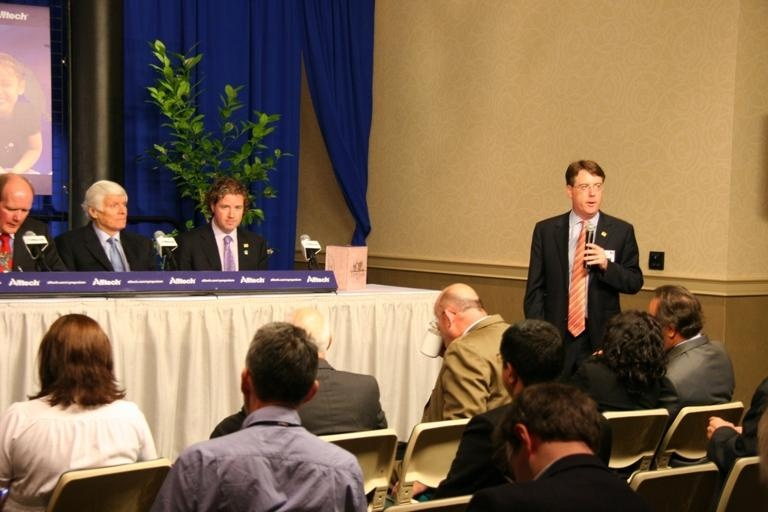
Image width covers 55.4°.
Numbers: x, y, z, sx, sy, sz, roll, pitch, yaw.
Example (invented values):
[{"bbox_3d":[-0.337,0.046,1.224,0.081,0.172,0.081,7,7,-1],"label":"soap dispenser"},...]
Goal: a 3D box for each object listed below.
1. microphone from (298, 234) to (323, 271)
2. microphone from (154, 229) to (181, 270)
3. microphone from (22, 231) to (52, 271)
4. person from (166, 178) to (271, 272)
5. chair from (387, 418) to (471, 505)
[{"bbox_3d":[-0.650,-0.048,6.563,0.147,0.184,0.619,4,26,-16],"label":"microphone"},{"bbox_3d":[-1.513,-0.035,5.114,0.159,0.274,0.658,-1,3,-17],"label":"microphone"},{"bbox_3d":[-2.192,-0.027,4.661,0.141,0.255,0.478,-2,4,-24],"label":"microphone"},{"bbox_3d":[-1.362,-0.254,5.851,0.907,1.007,0.508,0,-1,-36],"label":"person"},{"bbox_3d":[0.193,0.964,3.669,0.340,0.486,0.415,2,10,-20],"label":"chair"}]
